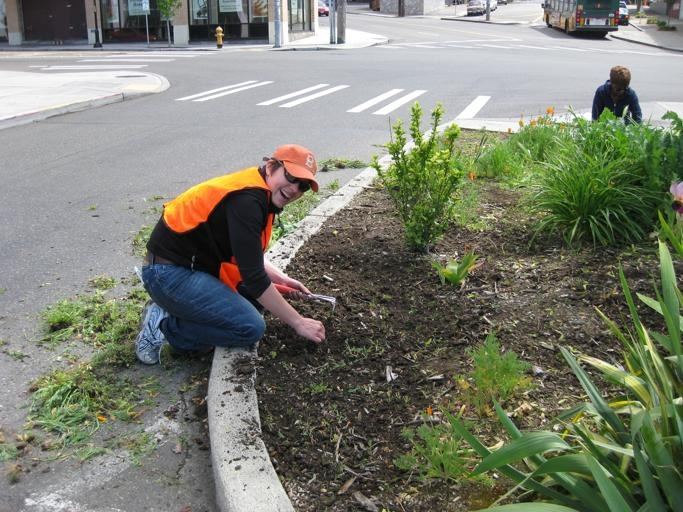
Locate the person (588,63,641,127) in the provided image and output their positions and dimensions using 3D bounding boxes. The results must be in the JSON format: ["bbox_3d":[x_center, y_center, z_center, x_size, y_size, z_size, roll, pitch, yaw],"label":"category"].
[{"bbox_3d":[3.694,-2.153,6.962,0.571,0.738,1.300,7,18,21],"label":"person"}]

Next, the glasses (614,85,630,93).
[{"bbox_3d":[3.762,-2.284,7.069,0.126,0.038,0.128,2,56,5],"label":"glasses"}]

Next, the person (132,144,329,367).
[{"bbox_3d":[-0.644,0.026,3.733,1.537,1.555,1.064,11,7,34],"label":"person"}]

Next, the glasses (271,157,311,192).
[{"bbox_3d":[-0.344,-0.520,3.349,0.324,0.213,0.197,2,17,7],"label":"glasses"}]

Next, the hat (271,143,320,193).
[{"bbox_3d":[-0.268,-0.610,3.399,0.391,0.194,0.275,31,7,38],"label":"hat"}]

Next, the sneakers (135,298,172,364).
[{"bbox_3d":[-1.326,0.546,3.766,0.230,0.502,0.170,0,-11,13],"label":"sneakers"}]

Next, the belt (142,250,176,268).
[{"bbox_3d":[-1.283,0.027,3.605,0.118,0.086,0.158,7,-6,-8],"label":"belt"}]
